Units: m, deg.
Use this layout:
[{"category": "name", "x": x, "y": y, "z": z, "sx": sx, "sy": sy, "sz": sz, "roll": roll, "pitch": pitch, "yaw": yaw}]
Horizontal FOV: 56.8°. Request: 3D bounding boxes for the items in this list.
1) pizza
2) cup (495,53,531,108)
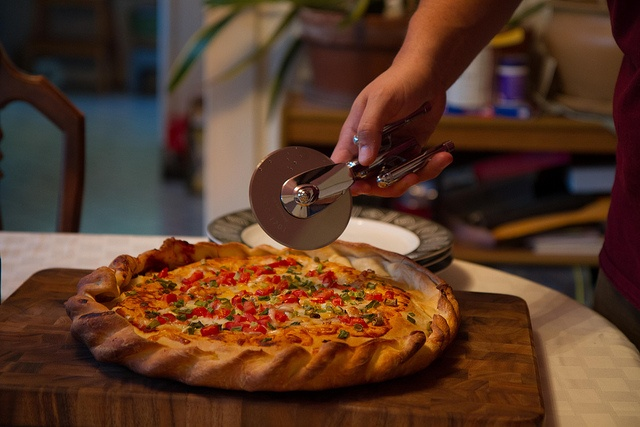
[{"category": "pizza", "x": -0.144, "y": 0.238, "z": 1.326, "sx": 0.506, "sy": 0.077, "sz": 0.463, "roll": -1, "pitch": 17, "yaw": -12}, {"category": "cup", "x": 0.962, "y": -0.691, "z": 2.933, "sx": 0.157, "sy": 0.242, "sz": 0.156, "roll": -6, "pitch": 40, "yaw": 5}]
